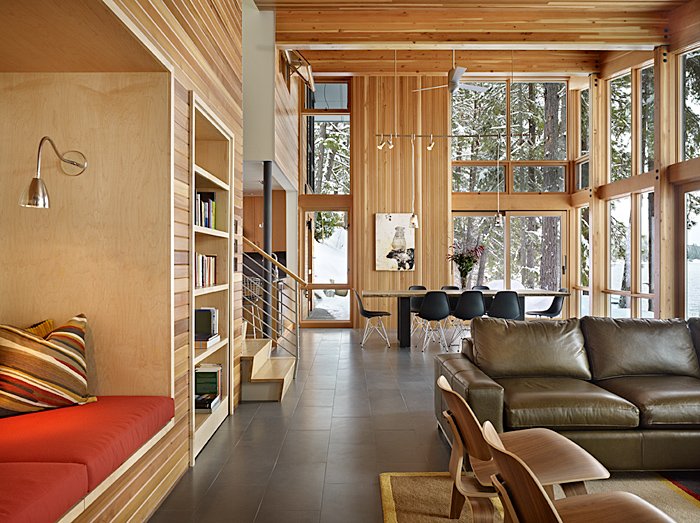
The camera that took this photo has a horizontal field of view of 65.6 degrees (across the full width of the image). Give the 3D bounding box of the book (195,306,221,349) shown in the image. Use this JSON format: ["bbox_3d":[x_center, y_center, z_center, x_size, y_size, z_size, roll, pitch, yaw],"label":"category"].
[{"bbox_3d":[-1.325,0.615,4.974,0.388,0.398,0.091,0,-7,-19],"label":"book"}]

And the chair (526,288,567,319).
[{"bbox_3d":[3.517,0.770,9.533,0.616,0.790,0.579,2,-1,-1],"label":"chair"}]

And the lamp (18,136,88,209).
[{"bbox_3d":[-2.049,-0.635,3.745,0.436,0.528,0.577,-4,5,-32],"label":"lamp"}]

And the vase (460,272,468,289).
[{"bbox_3d":[1.918,0.333,9.224,0.109,0.278,0.525,-1,4,9],"label":"vase"}]

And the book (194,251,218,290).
[{"bbox_3d":[-1.345,0.081,5.011,0.255,0.449,0.465,0,-3,-6],"label":"book"}]

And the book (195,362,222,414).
[{"bbox_3d":[-1.339,1.172,5.222,0.293,0.496,0.518,0,-4,-2],"label":"book"}]

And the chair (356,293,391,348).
[{"bbox_3d":[0.422,1.161,9.999,0.812,1.143,0.688,-1,-5,2],"label":"chair"}]

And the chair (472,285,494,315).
[{"bbox_3d":[2.288,0.609,9.128,0.404,0.557,0.460,0,-10,1],"label":"chair"}]

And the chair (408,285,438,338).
[{"bbox_3d":[1.471,0.887,10.033,0.791,1.110,0.721,0,-1,7],"label":"chair"}]

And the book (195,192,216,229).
[{"bbox_3d":[-1.342,-0.486,4.964,0.106,0.358,0.254,-3,0,2],"label":"book"}]
